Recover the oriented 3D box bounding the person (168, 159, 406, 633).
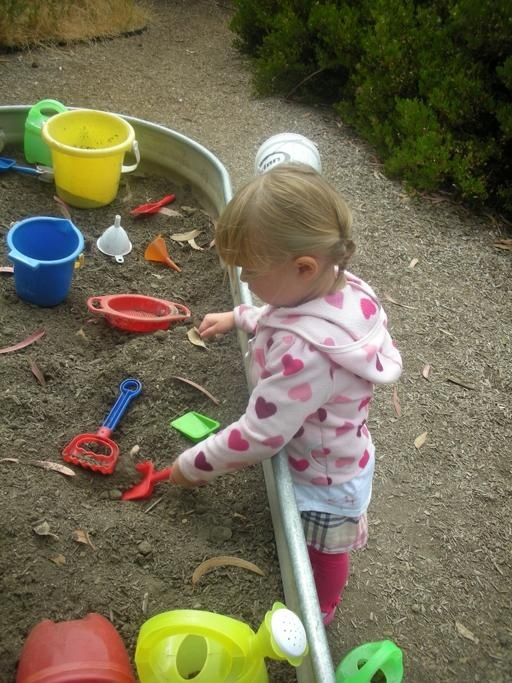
[{"bbox_3d":[0.047,0.185,1.604,0.647,1.124,0.543,-4,27,0],"label":"person"}]

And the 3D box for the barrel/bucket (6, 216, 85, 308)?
[{"bbox_3d":[-0.738,-0.266,2.209,0.237,0.219,0.238,13,42,-13],"label":"barrel/bucket"}]
